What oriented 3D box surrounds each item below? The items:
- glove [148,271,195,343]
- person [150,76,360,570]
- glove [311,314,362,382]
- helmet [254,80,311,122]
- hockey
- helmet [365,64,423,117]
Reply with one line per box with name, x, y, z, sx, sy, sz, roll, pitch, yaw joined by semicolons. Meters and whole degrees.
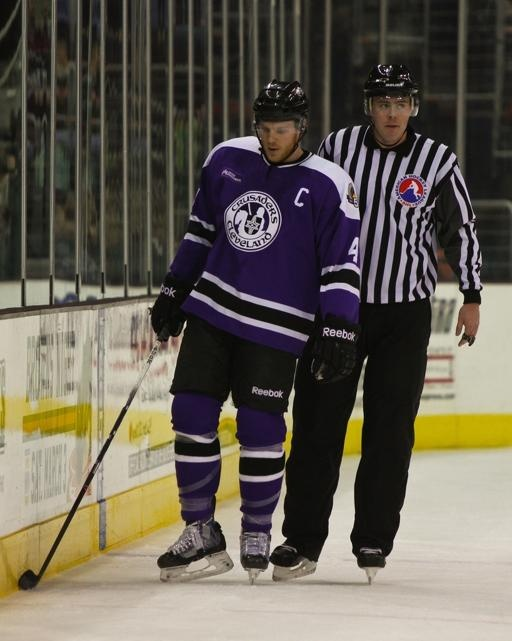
glove;-0.238;-0.037;2.691;0.102;0.190;0.068;23;-5;-25
person;-0.018;0.031;2.539;0.566;1.271;0.250;0;-2;10
glove;0.194;0.068;2.469;0.085;0.140;0.090;-18;13;-5
helmet;0.069;-0.552;2.501;0.095;0.134;0.127;3;11;20
hockey;-0.421;0.393;2.921;0.330;0.659;0.797;1;-3;4
helmet;0.373;-0.654;2.704;0.148;0.169;0.211;1;-3;6
